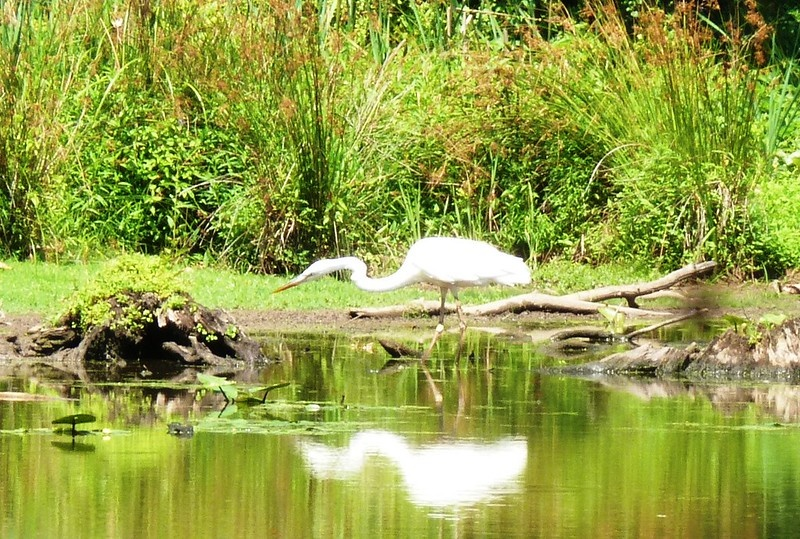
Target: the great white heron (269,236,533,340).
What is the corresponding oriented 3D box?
[{"bbox_3d":[0.232,0.197,14.785,2.496,1.124,0.825,4,8,22],"label":"great white heron"}]
